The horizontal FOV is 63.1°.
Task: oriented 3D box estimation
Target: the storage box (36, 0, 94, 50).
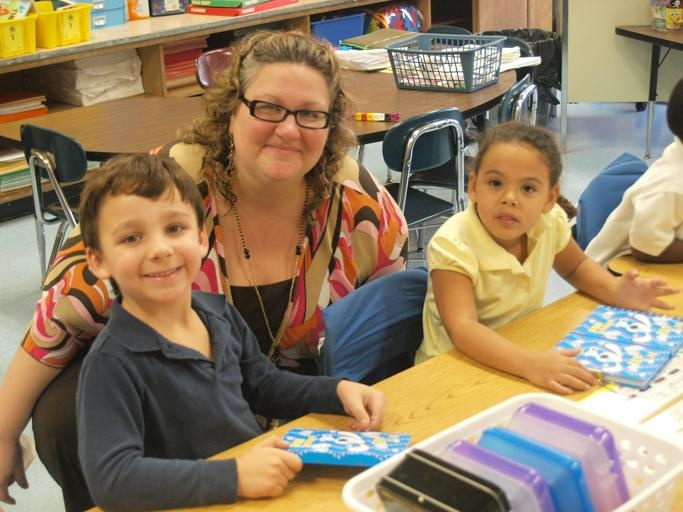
[{"bbox_3d":[-1.891,-1.567,3.791,0.281,0.209,0.405,19,34,23],"label":"storage box"}]
